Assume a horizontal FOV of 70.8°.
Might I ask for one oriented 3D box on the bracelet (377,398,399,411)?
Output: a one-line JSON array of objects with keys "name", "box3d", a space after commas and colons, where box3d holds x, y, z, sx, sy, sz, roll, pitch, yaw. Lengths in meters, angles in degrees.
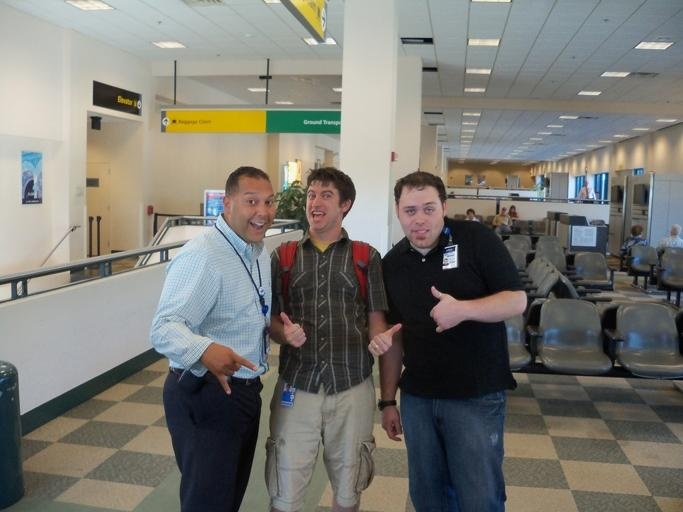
[{"name": "bracelet", "box3d": [0.233, 0.728, 2.363, 0.071, 0.042, 0.070, 1, -3, -26]}]
